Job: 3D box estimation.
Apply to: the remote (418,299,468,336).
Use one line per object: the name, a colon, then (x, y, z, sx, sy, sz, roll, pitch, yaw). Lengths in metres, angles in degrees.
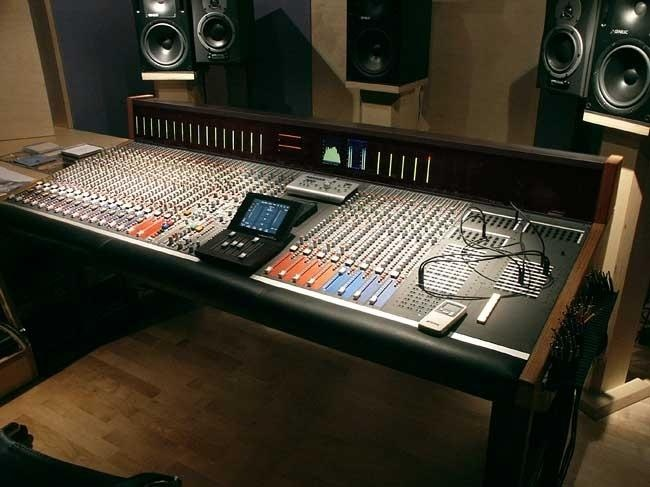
remote: (0.438, 0.275, 1.826, 0.092, 0.036, 0.183, 19, 38, 39)

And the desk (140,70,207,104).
desk: (-1.428, -1.479, 4.647, 0.476, 0.345, 0.573, -2, 25, -9)
